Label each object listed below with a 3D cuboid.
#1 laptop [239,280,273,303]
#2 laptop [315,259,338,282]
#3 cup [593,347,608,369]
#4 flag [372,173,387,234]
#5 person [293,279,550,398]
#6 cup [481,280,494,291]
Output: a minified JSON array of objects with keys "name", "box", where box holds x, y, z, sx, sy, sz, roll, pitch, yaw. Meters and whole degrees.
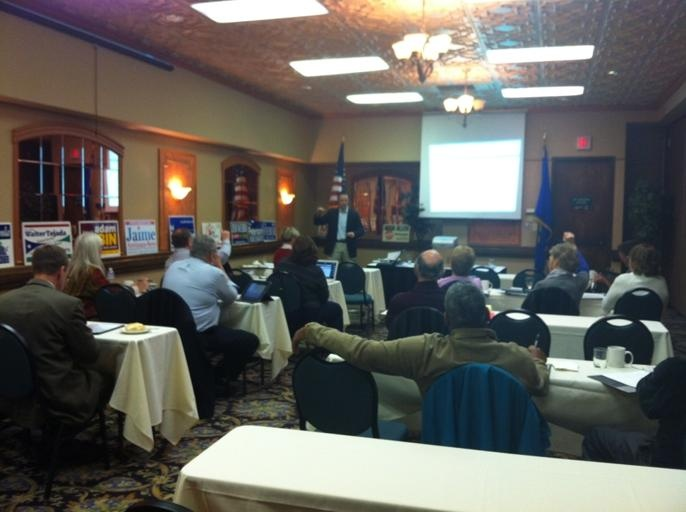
[{"name":"laptop","box":[-0.836,0.374,5.371,0.243,0.176,0.209,3,-10,30]},{"name":"laptop","box":[-0.204,0.183,7.038,0.267,0.275,0.224,0,-6,16]},{"name":"cup","box":[1.684,0.673,3.604,0.086,0.122,0.117,-2,-6,21]},{"name":"flag","box":[0.794,-1.088,11.561,0.271,1.210,0.192,2,8,11]},{"name":"person","box":[0.558,0.554,3.826,1.044,0.507,1.340,1,1,-4]},{"name":"cup","box":[1.547,0.323,5.951,0.095,0.155,0.156,-3,-4,31]}]
